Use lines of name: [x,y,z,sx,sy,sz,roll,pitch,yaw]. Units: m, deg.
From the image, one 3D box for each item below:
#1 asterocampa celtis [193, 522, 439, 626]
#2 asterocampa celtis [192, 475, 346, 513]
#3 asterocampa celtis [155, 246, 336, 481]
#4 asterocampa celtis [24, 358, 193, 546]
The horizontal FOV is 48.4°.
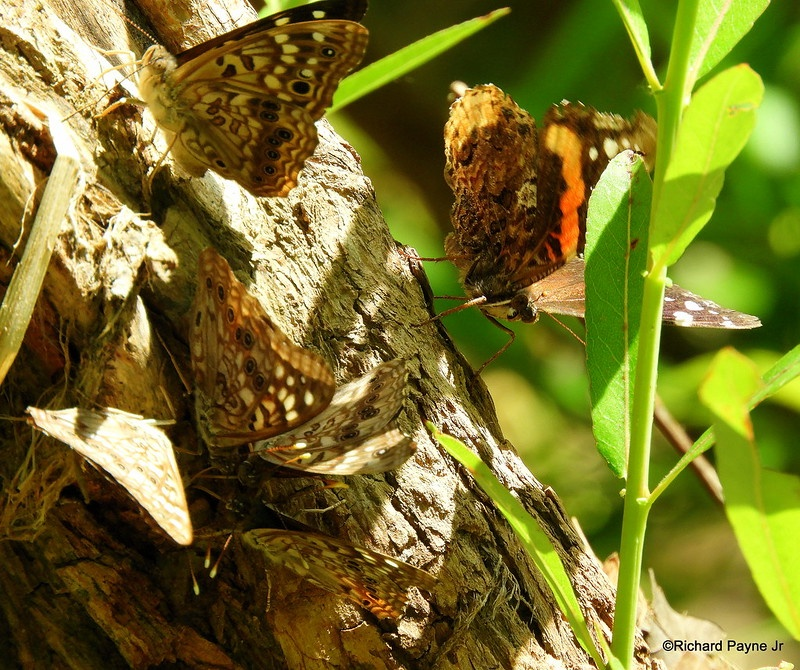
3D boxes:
asterocampa celtis: [-0.094,0.314,1.234,0.202,0.105,0.189,11,-10,13]
asterocampa celtis: [-0.189,0.223,1.310,0.111,0.062,0.111,-8,8,-44]
asterocampa celtis: [-0.163,0.005,1.238,0.135,0.259,0.256,-39,35,-26]
asterocampa celtis: [-0.343,0.157,1.125,0.223,0.087,0.194,29,18,-14]
